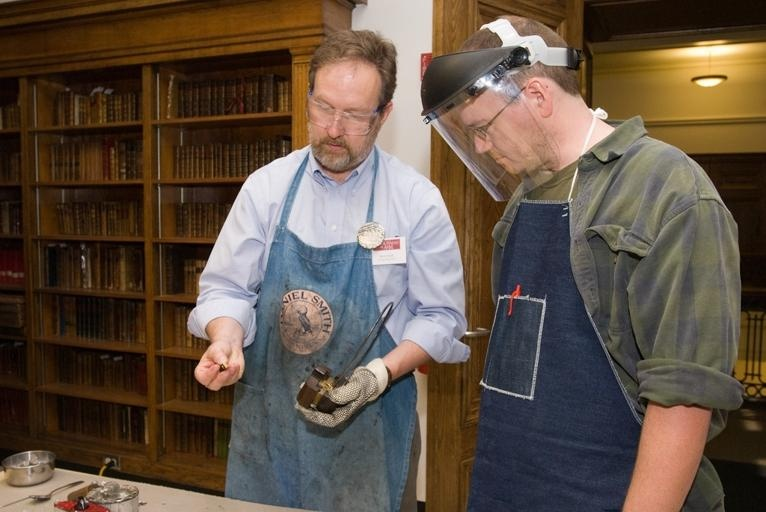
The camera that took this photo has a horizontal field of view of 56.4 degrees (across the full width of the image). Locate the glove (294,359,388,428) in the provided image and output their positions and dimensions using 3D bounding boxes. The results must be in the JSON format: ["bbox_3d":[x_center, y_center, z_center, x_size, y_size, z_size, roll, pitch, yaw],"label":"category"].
[{"bbox_3d":[-0.184,0.542,2.976,0.318,0.264,0.153,-38,23,-13],"label":"glove"}]

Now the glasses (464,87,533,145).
[{"bbox_3d":[0.418,-0.494,2.594,0.062,0.207,0.154,41,10,9],"label":"glasses"}]
